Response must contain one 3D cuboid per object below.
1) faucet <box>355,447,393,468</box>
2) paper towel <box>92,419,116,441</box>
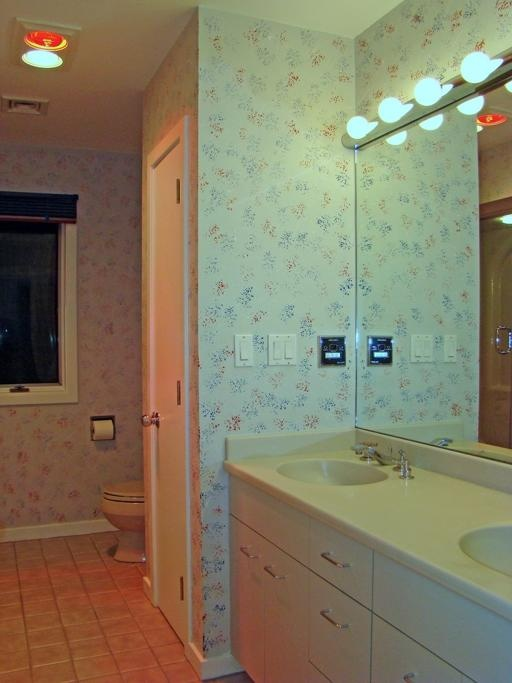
[{"bbox_3d":[0.384,0.388,1.803,0.044,0.043,0.123,-3,1,-18],"label":"faucet"},{"bbox_3d":[-0.983,0.566,3.517,0.173,0.142,0.131,6,-19,-36],"label":"paper towel"}]
